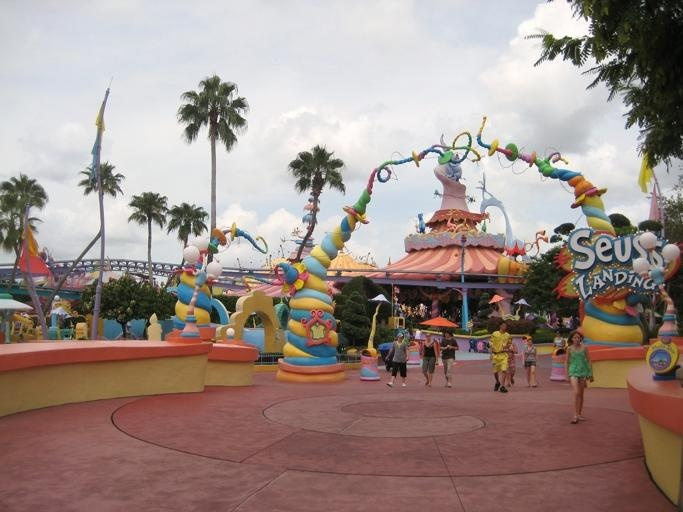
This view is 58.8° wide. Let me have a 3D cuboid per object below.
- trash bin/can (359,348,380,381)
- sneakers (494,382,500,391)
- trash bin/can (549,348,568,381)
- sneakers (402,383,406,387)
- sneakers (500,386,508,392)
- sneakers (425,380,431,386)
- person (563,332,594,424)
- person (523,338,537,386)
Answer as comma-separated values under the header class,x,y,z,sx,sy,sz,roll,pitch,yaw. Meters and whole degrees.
class,x,y,z,sx,sy,sz,roll,pitch,yaw
trash bin/can,0.954,3.671,20.497,0.611,0.982,0.882,1,-1,1
sneakers,4.236,3.536,16.539,0.181,0.248,0.301,1,-1,19
trash bin/can,7.096,3.612,19.849,0.633,0.891,0.534,7,-5,-39
sneakers,1.858,3.858,18.130,0.071,0.103,0.223,-4,-30,5
sneakers,4.362,3.587,16.323,0.124,0.161,0.350,1,-2,12
sneakers,2.554,3.748,17.912,0.156,0.198,0.356,1,-1,5
person,4.450,2.258,11.403,0.442,1.667,1.057,1,-1,21
person,5.839,3.258,18.774,0.402,1.548,2.128,1,-1,18
